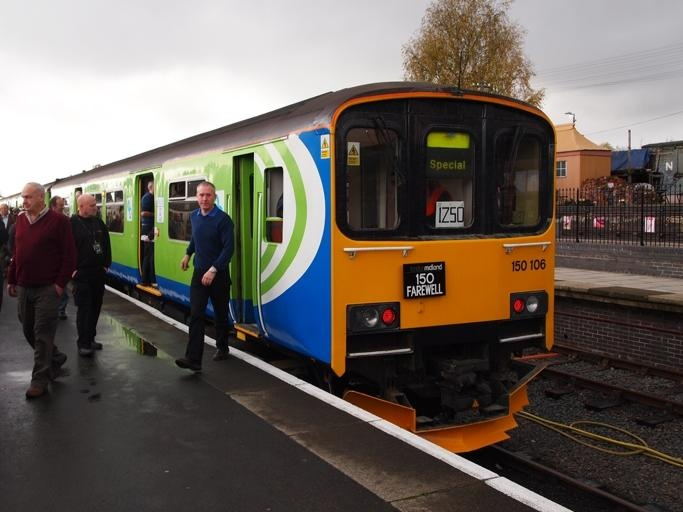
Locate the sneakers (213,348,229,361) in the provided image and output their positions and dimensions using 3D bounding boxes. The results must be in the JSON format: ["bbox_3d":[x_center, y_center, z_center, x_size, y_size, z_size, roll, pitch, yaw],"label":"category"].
[{"bbox_3d":[-1.621,1.290,6.986,0.095,0.100,0.210,-2,-8,21],"label":"sneakers"}]

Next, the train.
[{"bbox_3d":[-2.335,-0.928,12.180,3.143,4.739,15.378,-2,7,-32],"label":"train"}]

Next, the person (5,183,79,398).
[{"bbox_3d":[-3.305,0.359,5.869,0.669,2.323,0.396,-3,6,-16],"label":"person"}]
